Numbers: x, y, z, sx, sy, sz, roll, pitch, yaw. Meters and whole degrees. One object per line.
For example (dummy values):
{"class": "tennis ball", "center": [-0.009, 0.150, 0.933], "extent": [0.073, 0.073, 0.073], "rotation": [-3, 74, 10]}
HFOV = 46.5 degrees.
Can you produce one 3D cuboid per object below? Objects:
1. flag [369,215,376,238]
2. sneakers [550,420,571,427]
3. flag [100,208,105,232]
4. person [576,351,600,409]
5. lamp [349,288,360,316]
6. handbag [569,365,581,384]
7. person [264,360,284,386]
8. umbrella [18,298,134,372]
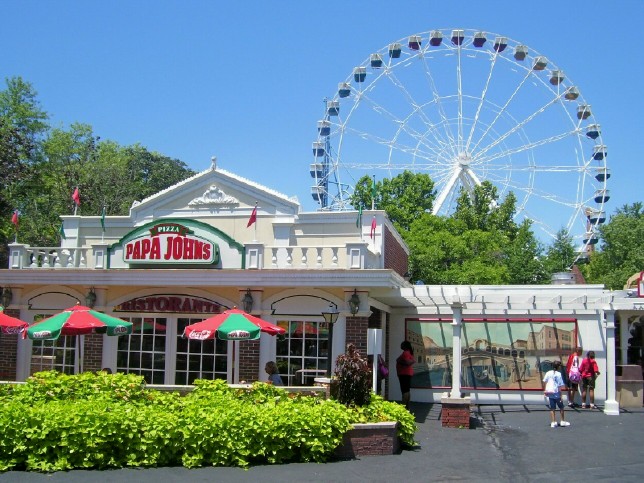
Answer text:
{"class": "flag", "center": [1.715, -0.421, 25.141], "extent": [0.234, 0.762, 0.263], "rotation": [2, -13, -14]}
{"class": "sneakers", "center": [7.084, 5.494, 22.347], "extent": [0.559, 0.228, 0.232], "rotation": [-1, -5, -8]}
{"class": "flag", "center": [-7.778, -0.814, 26.549], "extent": [0.167, 0.978, 1.128], "rotation": [2, -13, -16]}
{"class": "person", "center": [9.207, 4.845, 25.933], "extent": [0.641, 1.889, 1.521], "rotation": [-6, -13, 18]}
{"class": "lamp", "center": [0.995, 1.938, 23.326], "extent": [0.361, 0.772, 0.377], "rotation": [-3, -13, 5]}
{"class": "handbag", "center": [8.566, 4.599, 25.512], "extent": [0.358, 0.591, 0.229], "rotation": [-5, -13, 16]}
{"class": "person", "center": [-1.341, 3.678, 20.569], "extent": [0.347, 0.653, 1.006], "rotation": [-3, -12, 5]}
{"class": "umbrella", "center": [-7.046, 2.943, 21.780], "extent": [2.877, 2.006, 2.823], "rotation": [-1, 0, -8]}
